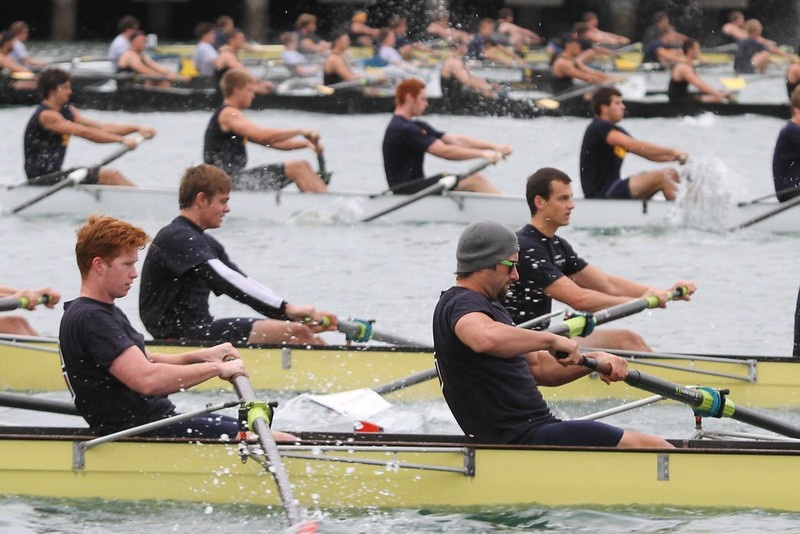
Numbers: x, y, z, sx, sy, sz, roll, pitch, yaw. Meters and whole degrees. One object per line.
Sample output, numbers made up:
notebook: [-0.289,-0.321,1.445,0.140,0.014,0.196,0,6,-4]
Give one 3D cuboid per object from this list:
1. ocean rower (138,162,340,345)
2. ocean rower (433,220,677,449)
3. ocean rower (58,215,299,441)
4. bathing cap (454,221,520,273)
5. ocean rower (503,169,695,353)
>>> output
ocean rower: [-1.460,-0.057,13.898,2.093,1.762,1.216,3,1,11]
ocean rower: [1.730,0.792,12.321,3.058,2.015,1.519,8,2,7]
ocean rower: [-1.957,0.560,12.999,2.542,1.822,1.493,-2,4,-17]
bathing cap: [0.766,-0.163,12.173,0.513,0.469,0.196,5,13,3]
ocean rower: [2.019,0.172,13.825,2.304,2.079,1.201,4,-17,-14]
